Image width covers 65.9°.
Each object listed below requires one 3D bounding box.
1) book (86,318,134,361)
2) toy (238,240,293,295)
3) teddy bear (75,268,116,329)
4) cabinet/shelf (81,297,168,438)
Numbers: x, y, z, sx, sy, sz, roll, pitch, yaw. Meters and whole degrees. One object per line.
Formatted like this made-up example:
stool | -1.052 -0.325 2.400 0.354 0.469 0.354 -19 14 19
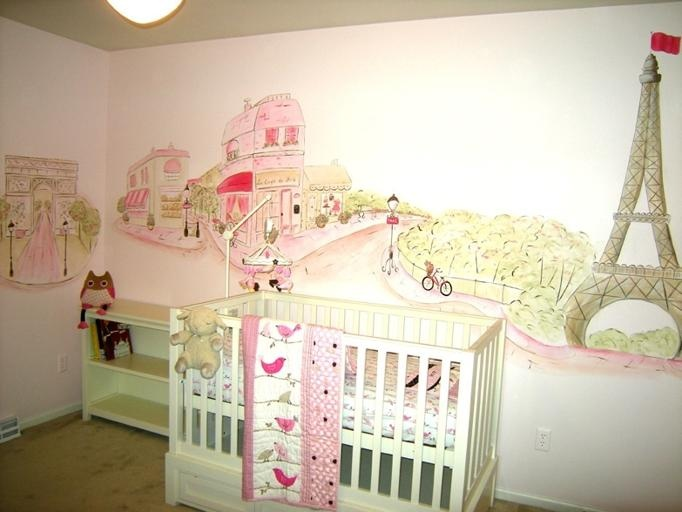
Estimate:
book | -1.846 0.684 4.255 0.273 0.312 0.303 -3 7 21
toy | -0.511 0.092 3.610 0.354 0.378 0.370 0 -1 -2
teddy bear | -1.910 0.342 4.105 0.257 0.459 0.102 2 -10 -11
cabinet/shelf | -1.715 0.897 4.157 0.901 0.900 0.367 5 3 28
